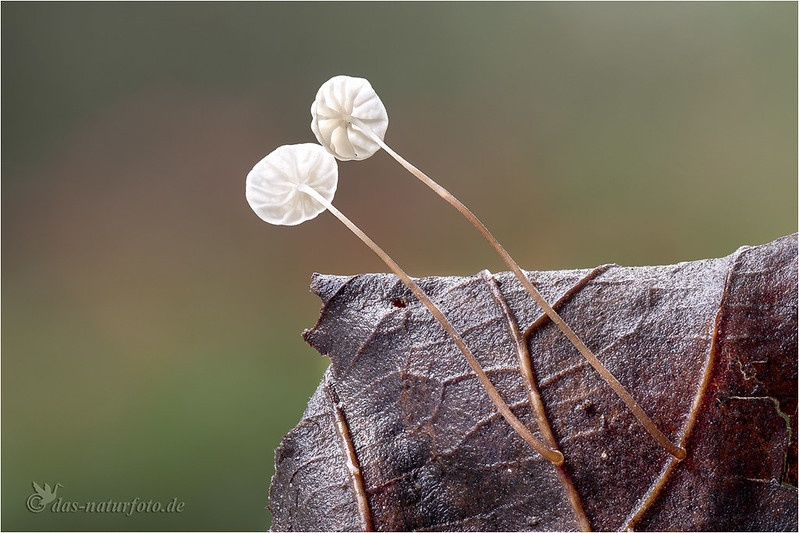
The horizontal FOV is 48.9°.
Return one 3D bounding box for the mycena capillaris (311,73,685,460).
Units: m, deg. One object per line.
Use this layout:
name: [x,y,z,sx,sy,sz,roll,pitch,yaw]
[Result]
mycena capillaris: [0.228,0.210,2.148,0.211,1.094,0.219,-35,-21,-26]
